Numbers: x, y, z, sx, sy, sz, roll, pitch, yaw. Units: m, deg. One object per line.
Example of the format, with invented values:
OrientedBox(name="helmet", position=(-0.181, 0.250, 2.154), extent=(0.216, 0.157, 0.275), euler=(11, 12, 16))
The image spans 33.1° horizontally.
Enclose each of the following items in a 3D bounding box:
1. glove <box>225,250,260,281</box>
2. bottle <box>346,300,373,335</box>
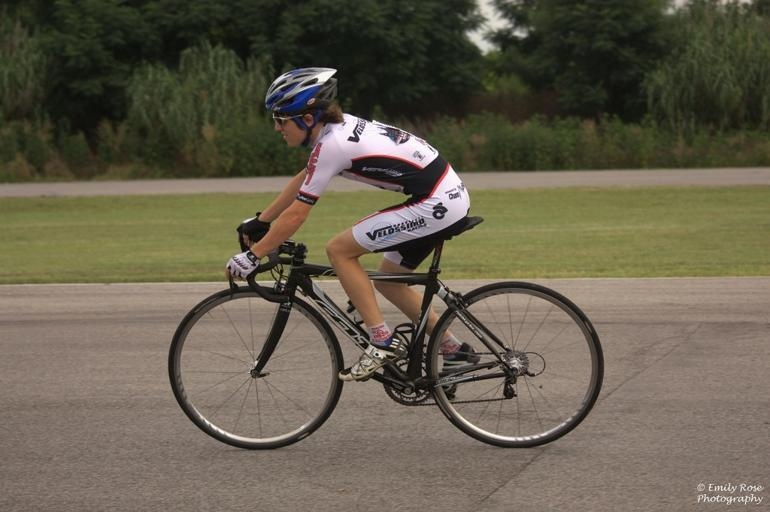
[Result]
OrientedBox(name="glove", position=(-2.234, 0.128, 20.405), extent=(0.520, 0.468, 0.171), euler=(1, 11, -5))
OrientedBox(name="bottle", position=(-0.530, 0.956, 20.643), extent=(0.167, 0.518, 0.371), euler=(-35, -27, -10))
